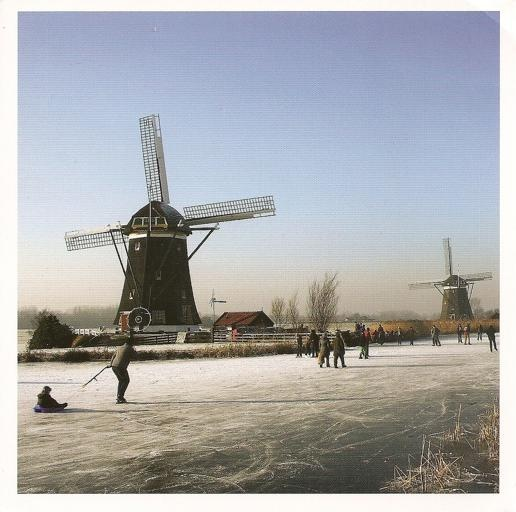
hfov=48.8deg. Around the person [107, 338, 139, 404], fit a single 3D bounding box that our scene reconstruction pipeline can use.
[{"bbox_3d":[-3.265,2.718,13.671,0.538,1.596,2.315,0,-5,-15],"label":"person"}]
